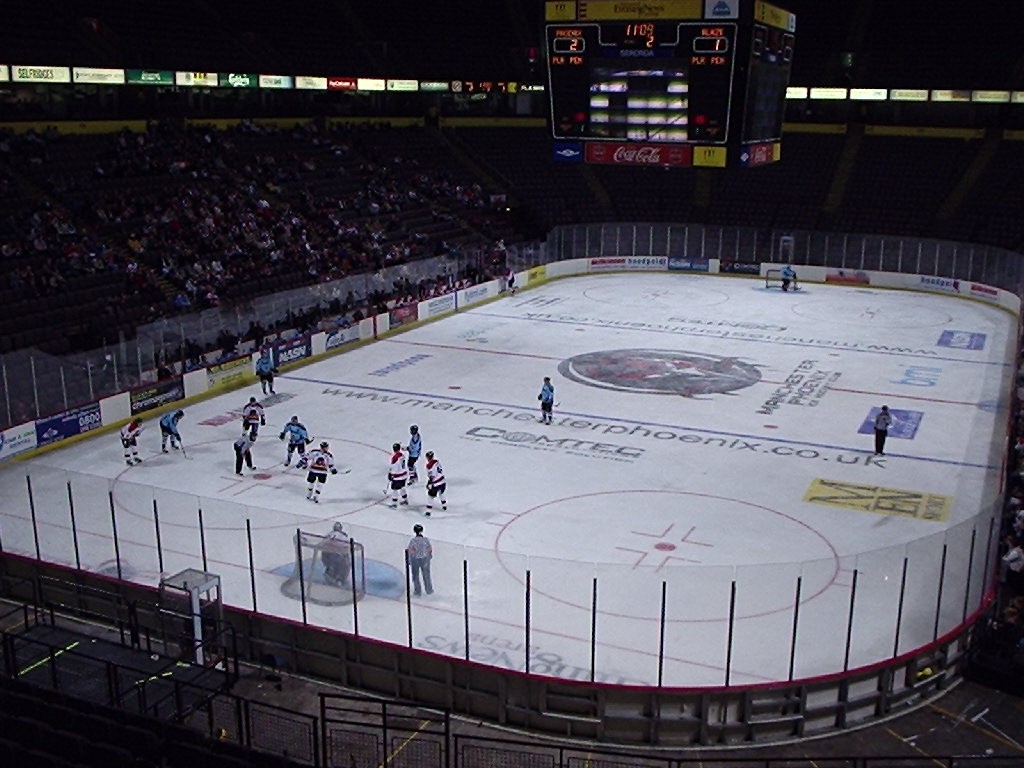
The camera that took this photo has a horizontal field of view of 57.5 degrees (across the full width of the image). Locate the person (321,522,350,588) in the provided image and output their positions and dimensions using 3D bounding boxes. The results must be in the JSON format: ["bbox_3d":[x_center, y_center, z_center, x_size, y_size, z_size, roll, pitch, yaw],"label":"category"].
[{"bbox_3d":[-3.321,3.249,17.661,0.627,1.433,0.249,3,27,3],"label":"person"}]

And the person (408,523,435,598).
[{"bbox_3d":[-1.718,3.424,17.604,0.476,1.285,0.603,-2,26,-7],"label":"person"}]

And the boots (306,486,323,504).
[{"bbox_3d":[-5.126,2.917,24.342,0.410,0.366,0.274,-30,42,-35],"label":"boots"}]
